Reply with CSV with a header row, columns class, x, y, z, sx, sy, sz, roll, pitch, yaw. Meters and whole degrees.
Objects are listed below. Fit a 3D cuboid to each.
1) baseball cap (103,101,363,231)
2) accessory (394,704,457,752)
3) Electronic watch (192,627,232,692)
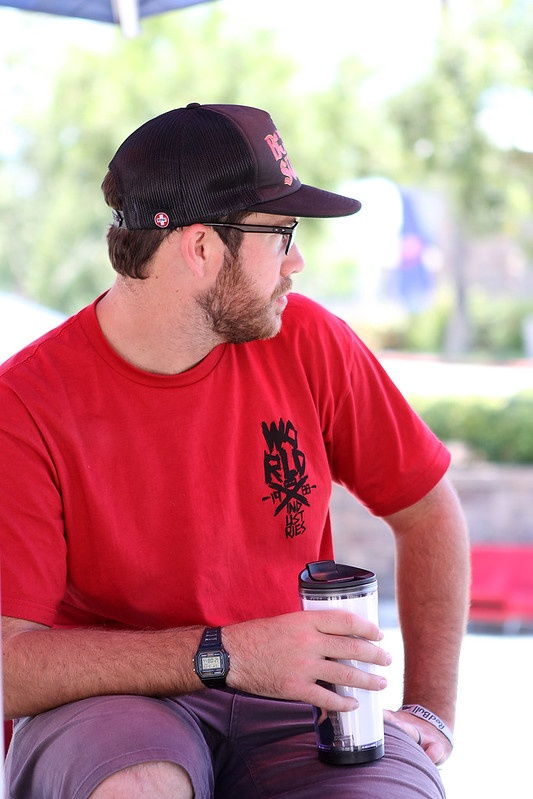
class,x,y,z,sx,sy,sz,roll,pitch,yaw
baseball cap,-0.076,-0.476,1.906,0.452,0.181,0.256,-3,11,0
accessory,0.327,0.665,1.908,0.096,0.097,0.023,26,78,49
Electronic watch,-0.094,0.463,1.662,0.069,0.082,0.103,3,11,-4
